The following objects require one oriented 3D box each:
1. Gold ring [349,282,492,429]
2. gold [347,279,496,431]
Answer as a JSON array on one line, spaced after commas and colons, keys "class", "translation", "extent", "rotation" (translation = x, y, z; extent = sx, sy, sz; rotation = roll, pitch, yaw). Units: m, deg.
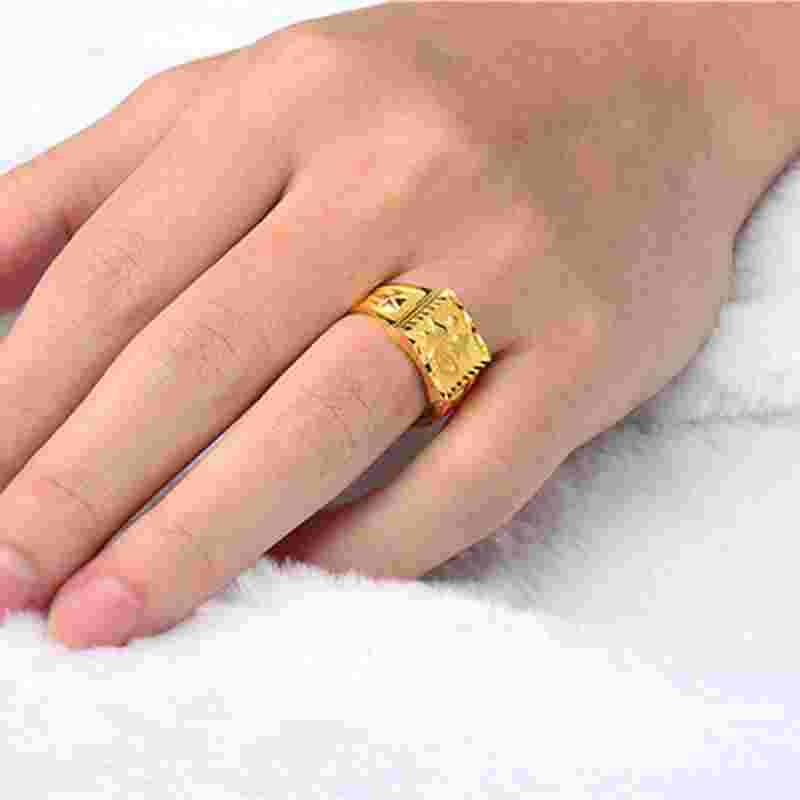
[{"class": "Gold ring", "translation": [0.008, -0.036, 0.726], "extent": [0.104, 0.114, 0.047], "rotation": [26, 22, 28]}, {"class": "gold", "translation": [0.007, -0.033, 0.755], "extent": [0.083, 0.111, 0.135], "rotation": [-11, 23, -36]}]
